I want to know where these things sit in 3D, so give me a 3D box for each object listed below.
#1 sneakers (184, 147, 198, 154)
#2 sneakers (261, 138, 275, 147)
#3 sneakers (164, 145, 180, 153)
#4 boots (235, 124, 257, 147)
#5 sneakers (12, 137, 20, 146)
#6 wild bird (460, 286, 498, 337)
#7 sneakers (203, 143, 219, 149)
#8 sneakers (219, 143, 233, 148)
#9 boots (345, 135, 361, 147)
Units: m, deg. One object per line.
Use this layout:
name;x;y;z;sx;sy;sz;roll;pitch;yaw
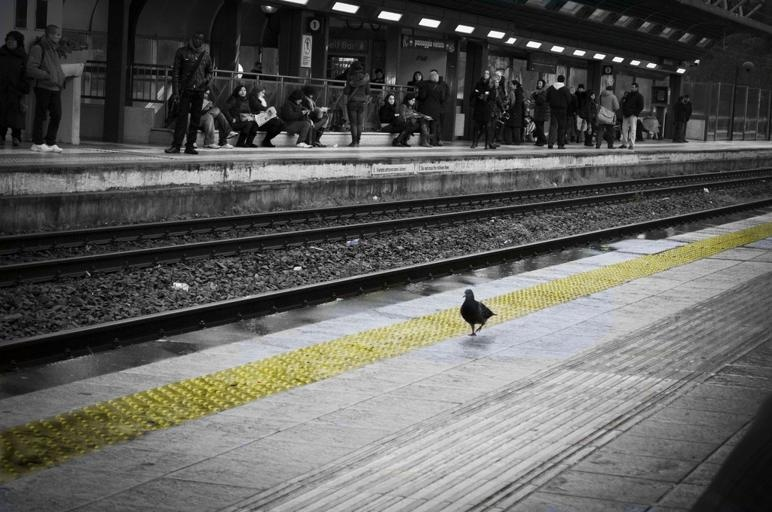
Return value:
sneakers;-4.526;-2.424;15.908;0.317;0.215;0.120;-4;14;-4
sneakers;-3.409;-3.261;19.817;0.214;0.214;0.470;7;12;35
sneakers;-5.055;-2.496;16.096;0.434;0.184;0.188;9;12;33
boots;-3.920;-3.358;19.137;0.646;0.728;0.561;-6;23;-20
sneakers;-8.366;-2.566;15.425;0.189;0.188;0.521;-3;8;-27
wild bird;0.970;0.589;7.237;0.314;0.505;0.475;2;10;12
sneakers;-4.692;-2.902;18.249;0.429;0.170;0.156;-1;5;32
sneakers;-4.300;-2.935;18.377;0.355;0.137;0.127;-1;11;7
boots;-1.076;-3.650;22.074;0.225;0.355;0.507;-11;20;-41
